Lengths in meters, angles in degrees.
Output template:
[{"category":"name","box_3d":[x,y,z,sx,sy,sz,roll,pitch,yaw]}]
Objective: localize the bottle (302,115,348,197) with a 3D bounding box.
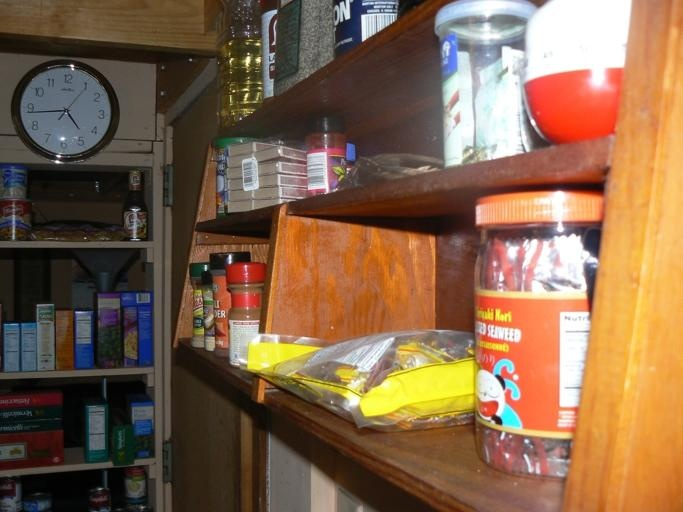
[{"category":"bottle","box_3d":[-0.031,-0.184,1.128,0.078,0.139,0.082,-2,2,0]}]

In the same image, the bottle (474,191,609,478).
[{"category":"bottle","box_3d":[0.202,0.080,0.604,0.138,0.286,0.070,-3,-2,25]}]

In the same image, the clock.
[{"category":"clock","box_3d":[-1.182,-0.618,2.446,0.406,0.410,0.048,-6,-2,-13]}]
